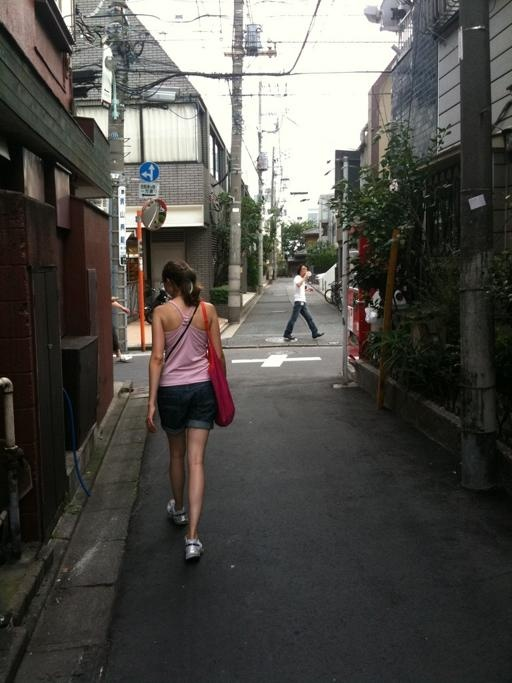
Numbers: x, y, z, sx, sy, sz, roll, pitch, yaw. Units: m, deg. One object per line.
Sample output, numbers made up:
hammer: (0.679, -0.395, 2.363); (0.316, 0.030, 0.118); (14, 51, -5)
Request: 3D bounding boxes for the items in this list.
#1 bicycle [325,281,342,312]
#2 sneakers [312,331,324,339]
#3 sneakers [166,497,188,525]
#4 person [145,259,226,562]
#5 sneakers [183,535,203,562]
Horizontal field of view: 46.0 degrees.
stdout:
bicycle: (3.532, -2.133, 25.990); (0.608, 1.100, 1.619); (-5, 17, -5)
sneakers: (1.615, -0.181, 15.825); (0.190, 0.080, 0.099); (-21, -37, 2)
sneakers: (-0.508, 1.094, 3.889); (0.070, 0.113, 0.222); (0, 0, -14)
person: (-0.391, 0.358, 3.471); (0.403, 1.639, 0.706); (0, 2, 11)
sneakers: (-0.333, 1.097, 3.226); (0.091, 0.121, 0.196); (-1, 3, -4)
